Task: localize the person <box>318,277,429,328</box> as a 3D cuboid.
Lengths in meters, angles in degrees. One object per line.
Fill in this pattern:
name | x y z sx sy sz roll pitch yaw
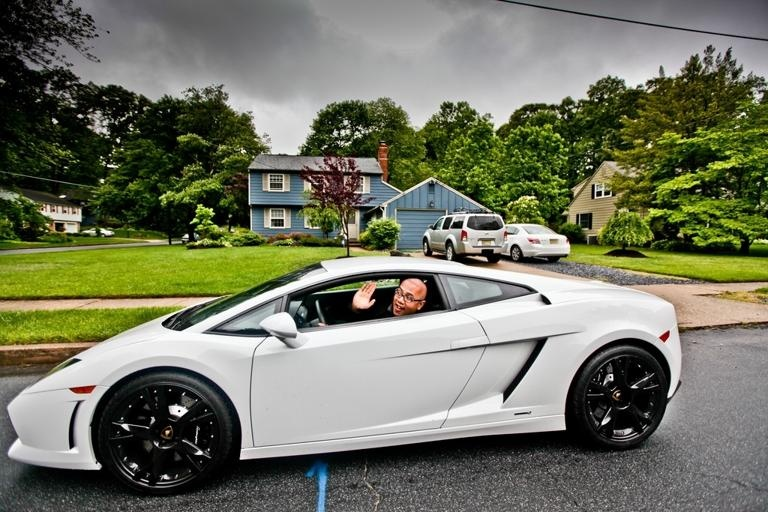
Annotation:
person | -0.043 0.692 7.446 1.325 0.397 0.768 -6 3 -16
